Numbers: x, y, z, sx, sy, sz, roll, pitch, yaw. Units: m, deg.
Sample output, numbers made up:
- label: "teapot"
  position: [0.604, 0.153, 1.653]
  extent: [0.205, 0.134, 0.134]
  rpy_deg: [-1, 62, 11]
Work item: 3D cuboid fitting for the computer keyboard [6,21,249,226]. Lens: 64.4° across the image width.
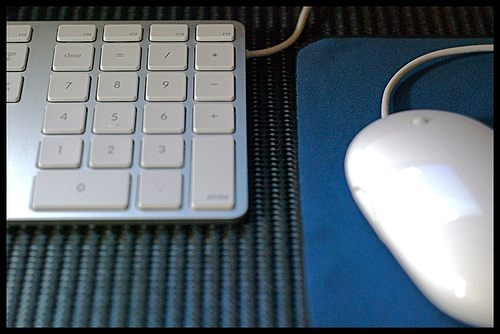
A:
- label: "computer keyboard"
  position: [-0.118, -0.049, 0.359]
  extent: [0.231, 0.043, 0.203]
  rpy_deg: [1, 62, -4]
